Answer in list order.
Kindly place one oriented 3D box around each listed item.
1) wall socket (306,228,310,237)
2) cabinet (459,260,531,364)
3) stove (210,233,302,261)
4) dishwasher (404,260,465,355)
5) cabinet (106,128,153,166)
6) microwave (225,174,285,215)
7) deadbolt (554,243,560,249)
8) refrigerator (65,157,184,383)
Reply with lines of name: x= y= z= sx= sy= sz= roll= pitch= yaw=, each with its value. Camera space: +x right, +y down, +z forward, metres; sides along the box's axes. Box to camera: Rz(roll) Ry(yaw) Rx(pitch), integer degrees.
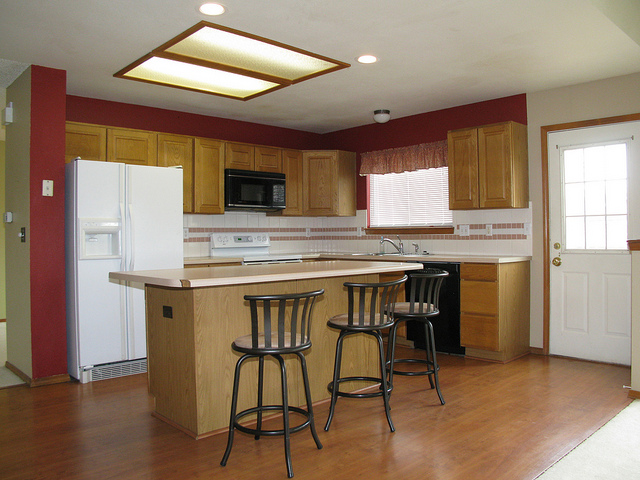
wall socket: x=-0.184 y=-0.124 z=7.520 sx=0.019 sy=0.134 sz=0.065 roll=4 pitch=7 yaw=44
cabinet: x=1.961 y=0.763 z=5.499 sx=0.695 sy=1.092 sz=0.512 roll=-1 pitch=-1 yaw=-39
stove: x=-1.060 y=0.056 z=6.704 sx=0.924 sy=0.322 sz=0.203 roll=-4 pitch=6 yaw=-41
dishwasher: x=1.366 y=0.784 z=5.708 sx=0.678 sy=1.129 sz=0.651 roll=4 pitch=5 yaw=25
cabinet: x=-2.147 y=-1.055 z=5.544 sx=0.326 sy=0.399 sz=0.535 roll=4 pitch=4 yaw=28
microwave: x=-0.919 y=-0.641 z=6.630 sx=0.814 sy=0.532 sz=0.501 roll=0 pitch=-1 yaw=-28
deadbolt: x=2.627 y=0.059 z=5.430 sx=0.050 sy=0.063 sz=0.017 roll=2 pitch=5 yaw=22
refrigerator: x=-2.059 y=0.154 z=5.097 sx=1.073 sy=2.279 sz=0.920 roll=-1 pitch=4 yaw=-36
